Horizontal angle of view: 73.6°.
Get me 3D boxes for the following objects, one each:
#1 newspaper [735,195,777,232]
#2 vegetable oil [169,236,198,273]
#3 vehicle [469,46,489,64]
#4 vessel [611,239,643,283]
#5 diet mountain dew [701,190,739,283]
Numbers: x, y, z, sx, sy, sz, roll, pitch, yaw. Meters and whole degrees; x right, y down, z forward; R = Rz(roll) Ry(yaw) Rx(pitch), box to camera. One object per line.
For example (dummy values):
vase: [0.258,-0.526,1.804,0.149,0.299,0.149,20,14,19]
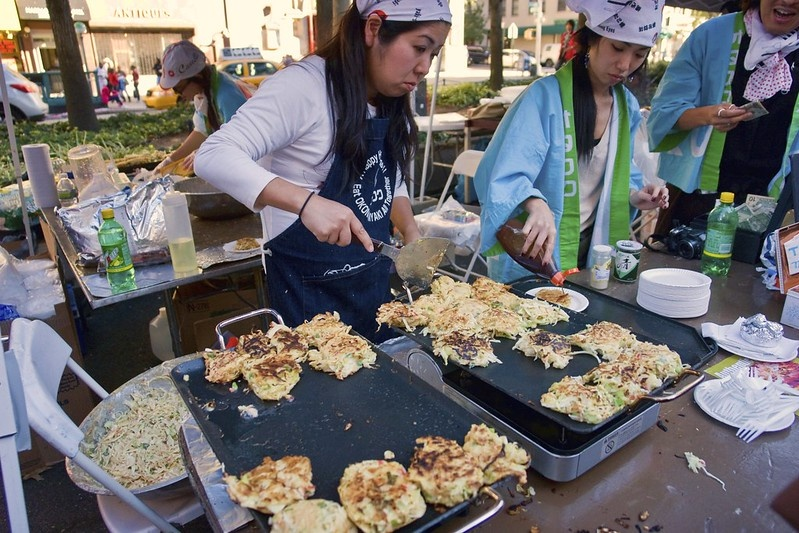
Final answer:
newspaper: [2.179,-0.286,3.343,0.265,0.073,0.256,16,7,-45]
vegetable oil: [-1.456,-0.110,3.581,0.168,0.276,0.166,-3,18,3]
vehicle: [4.304,-11.456,28.947,1.317,0.665,0.761,-19,37,-29]
vessel: [1.313,-0.017,3.084,0.176,0.237,0.164,-6,26,0]
diet mountain dew: [1.864,-0.165,3.192,0.211,0.537,0.181,-14,20,-42]
